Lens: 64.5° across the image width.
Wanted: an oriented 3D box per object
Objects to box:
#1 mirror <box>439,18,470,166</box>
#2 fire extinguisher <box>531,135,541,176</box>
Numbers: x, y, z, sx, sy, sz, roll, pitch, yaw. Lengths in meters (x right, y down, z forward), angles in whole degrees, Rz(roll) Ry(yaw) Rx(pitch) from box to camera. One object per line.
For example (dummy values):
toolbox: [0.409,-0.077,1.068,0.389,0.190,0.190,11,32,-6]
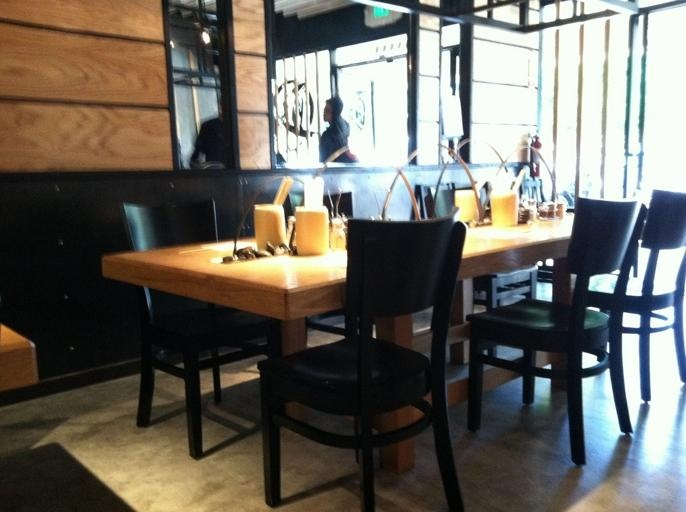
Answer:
mirror: [1.168,-1.743,5.467,0.220,1.121,0.276,-14,17,-43]
fire extinguisher: [2.047,-1.046,5.748,0.105,0.441,0.752,3,13,19]
